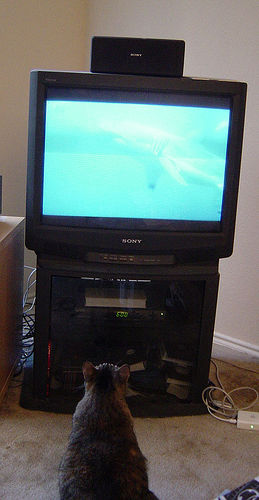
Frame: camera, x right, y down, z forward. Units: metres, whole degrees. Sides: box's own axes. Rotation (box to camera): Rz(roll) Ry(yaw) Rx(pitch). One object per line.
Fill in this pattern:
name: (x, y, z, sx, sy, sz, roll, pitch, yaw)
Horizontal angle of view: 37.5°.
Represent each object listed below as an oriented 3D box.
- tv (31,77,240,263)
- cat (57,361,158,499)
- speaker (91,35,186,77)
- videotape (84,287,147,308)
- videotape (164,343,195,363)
tv: (0.013, -0.094, 1.427, 0.738, 0.783, 0.471, 2, 4, -2)
cat: (-0.048, 0.360, 1.001, 0.158, 0.241, 0.497, -3, 48, 0)
speaker: (0.024, -0.619, 1.226, 0.255, 0.222, 0.068, 2, 4, -2)
videotape: (-0.053, 0.170, 1.370, 0.219, 0.072, 0.019, 3, 9, -5)
videotape: (0.192, 0.390, 1.459, 0.077, 0.088, 0.020, 1, 11, 10)
